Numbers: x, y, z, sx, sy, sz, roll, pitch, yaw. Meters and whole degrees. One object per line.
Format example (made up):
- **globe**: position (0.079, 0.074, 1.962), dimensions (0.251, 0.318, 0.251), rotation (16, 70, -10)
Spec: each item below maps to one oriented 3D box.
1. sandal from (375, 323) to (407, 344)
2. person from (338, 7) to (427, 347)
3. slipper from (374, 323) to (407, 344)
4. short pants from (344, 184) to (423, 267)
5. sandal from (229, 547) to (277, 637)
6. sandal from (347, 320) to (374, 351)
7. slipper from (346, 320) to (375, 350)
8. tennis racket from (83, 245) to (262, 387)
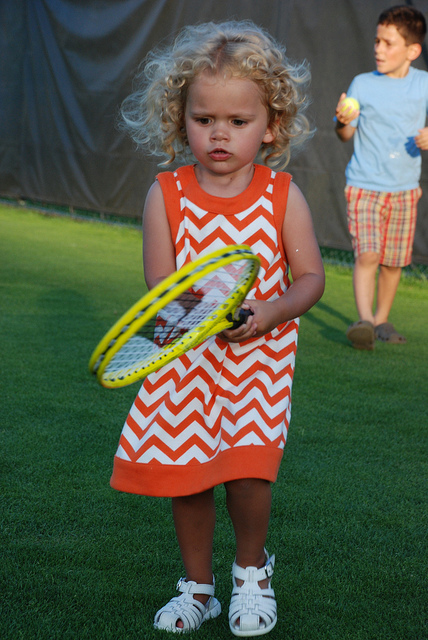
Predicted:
- **sandal**: position (1.016, 0.080, 3.412), dimensions (0.099, 0.078, 0.172), rotation (-2, -3, -24)
- **person**: position (0.918, -0.797, 3.286), dimensions (0.491, 1.858, 0.697), rotation (5, 12, 11)
- **slipper**: position (1.012, 0.082, 3.413), dimensions (0.105, 0.081, 0.182), rotation (-1, -2, -28)
- **short pants**: position (0.969, -0.545, 3.466), dimensions (0.436, 0.473, 0.294), rotation (5, 17, 0)
- **sandal**: position (0.079, 0.518, 1.153), dimensions (0.091, 0.114, 0.196), rotation (4, 12, 4)
- **sandal**: position (0.791, 0.084, 3.195), dimensions (0.106, 0.202, 0.090), rotation (2, 37, 8)
- **slipper**: position (0.788, 0.083, 3.141), dimensions (0.100, 0.210, 0.101), rotation (1, 34, 10)
- **tennis racket**: position (-0.084, -0.008, 0.898), dimensions (0.055, 0.189, 0.301), rotation (47, 21, 18)
